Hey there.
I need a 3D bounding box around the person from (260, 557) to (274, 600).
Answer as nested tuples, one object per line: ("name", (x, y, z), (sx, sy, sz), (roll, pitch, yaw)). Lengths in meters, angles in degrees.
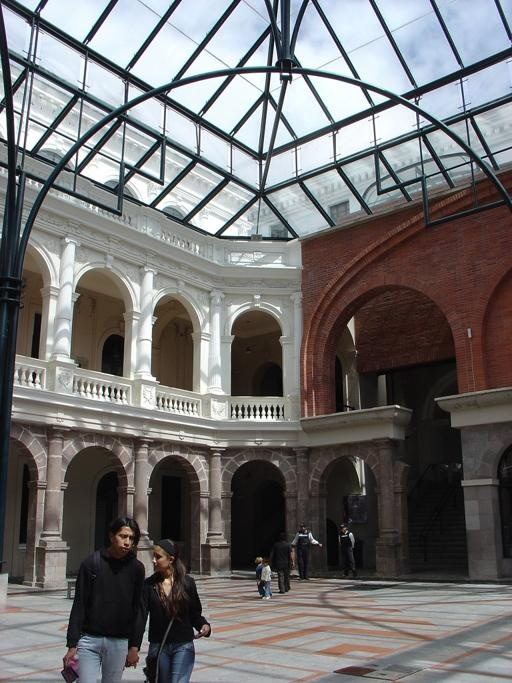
("person", (0.216, 5.017, 13.067), (0.298, 0.733, 0.464), (8, -2, 3))
